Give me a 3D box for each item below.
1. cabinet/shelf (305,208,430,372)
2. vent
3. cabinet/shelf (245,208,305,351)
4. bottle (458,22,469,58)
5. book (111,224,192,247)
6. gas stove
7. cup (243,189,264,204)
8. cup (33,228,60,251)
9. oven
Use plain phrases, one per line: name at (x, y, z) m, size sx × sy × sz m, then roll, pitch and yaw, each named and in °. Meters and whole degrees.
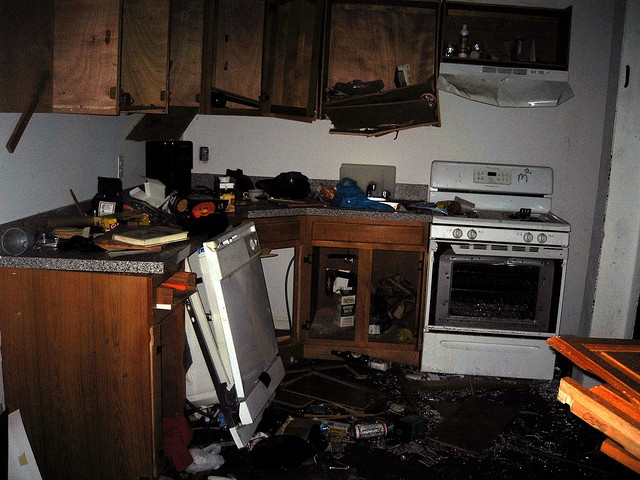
cabinet/shelf at (0.337, 0.313, 4.058) m, size 0.949 × 1.101 × 0.595 m, roll 3°, pitch 7°, yaw 5°
vent at (1.362, -1.161, 3.885) m, size 0.990 × 0.265 × 0.313 m, roll 2°, pitch 9°, yaw -1°
cabinet/shelf at (-0.288, 0.311, 3.848) m, size 0.341 × 1.009 × 0.752 m, roll 3°, pitch 9°, yaw 9°
bottle at (1.076, -1.491, 3.889) m, size 0.077 × 0.283 × 0.272 m, roll 4°, pitch 9°, yaw 14°
book at (-0.861, -0.023, 2.733) m, size 0.218 × 0.077 × 0.428 m, roll 7°, pitch 10°, yaw 32°
gas stove at (1.306, -0.301, 3.923) m, size 0.963 × 0.562 × 0.847 m, roll 4°, pitch 9°, yaw 12°
cup at (-0.470, -0.333, 3.861) m, size 0.179 × 0.092 × 0.153 m, roll -3°, pitch 10°, yaw -27°
cup at (-1.399, 0.004, 2.661) m, size 0.112 × 0.070 × 0.112 m, roll 2°, pitch 12°, yaw 0°
oven at (1.272, 0.434, 4.054) m, size 1.007 × 1.033 × 0.955 m, roll 4°, pitch 7°, yaw 17°
